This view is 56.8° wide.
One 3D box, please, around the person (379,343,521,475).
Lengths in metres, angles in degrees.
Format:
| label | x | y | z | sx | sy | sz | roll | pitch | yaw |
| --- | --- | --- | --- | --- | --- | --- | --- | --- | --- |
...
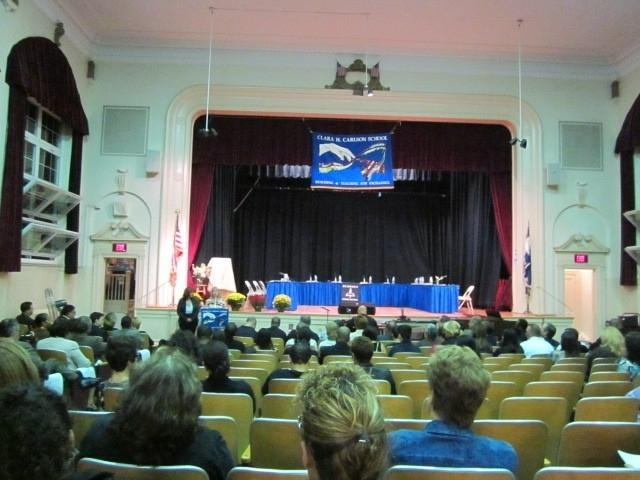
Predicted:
| label | x | y | z | sx | sy | sz | roll | pitch | yaw |
| --- | --- | --- | --- | --- | --- | --- | --- | --- | --- |
| person | 1.188 | 1.597 | 5.444 | 1.065 | 1.164 | 0.542 | 3 | 4 | -2 |

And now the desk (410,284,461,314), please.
| label | x | y | z | sx | sy | sz | roll | pitch | yaw |
| --- | --- | --- | --- | --- | --- | --- | --- | --- | --- |
| desk | 3.069 | 1.564 | 15.932 | 0.678 | 0.625 | 1.140 | 1 | 3 | -21 |

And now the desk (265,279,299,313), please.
| label | x | y | z | sx | sy | sz | roll | pitch | yaw |
| --- | --- | --- | --- | --- | --- | --- | --- | --- | --- |
| desk | -0.943 | 1.520 | 16.164 | 0.762 | 0.606 | 0.752 | 6 | -9 | -42 |

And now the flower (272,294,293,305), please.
| label | x | y | z | sx | sy | sz | roll | pitch | yaw |
| --- | --- | --- | --- | --- | --- | --- | --- | --- | --- |
| flower | -0.951 | 1.541 | 14.943 | 0.326 | 0.230 | 0.341 | 1 | -5 | -4 |

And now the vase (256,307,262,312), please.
| label | x | y | z | sx | sy | sz | roll | pitch | yaw |
| --- | --- | --- | --- | --- | --- | --- | --- | --- | --- |
| vase | -1.538 | 1.769 | 14.937 | 0.182 | 0.192 | 0.102 | 1 | -2 | -14 |

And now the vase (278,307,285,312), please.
| label | x | y | z | sx | sy | sz | roll | pitch | yaw |
| --- | --- | --- | --- | --- | --- | --- | --- | --- | --- |
| vase | -0.946 | 1.749 | 14.704 | 0.117 | 0.089 | 0.122 | 0 | 0 | 9 |

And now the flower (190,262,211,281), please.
| label | x | y | z | sx | sy | sz | roll | pitch | yaw |
| --- | --- | --- | --- | --- | --- | --- | --- | --- | --- |
| flower | -3.035 | 0.830 | 15.453 | 0.454 | 0.493 | 0.218 | -1 | -2 | 13 |

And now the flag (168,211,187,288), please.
| label | x | y | z | sx | sy | sz | roll | pitch | yaw |
| --- | --- | --- | --- | --- | --- | --- | --- | --- | --- |
| flag | -3.669 | 0.221 | 15.348 | 0.355 | 2.073 | 0.929 | 2 | -7 | -13 |

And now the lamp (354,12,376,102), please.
| label | x | y | z | sx | sy | sz | roll | pitch | yaw |
| --- | --- | --- | --- | --- | --- | --- | --- | --- | --- |
| lamp | 1.107 | -4.738 | 15.305 | 0.579 | 1.385 | 2.119 | 0 | -6 | 5 |

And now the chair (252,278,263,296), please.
| label | x | y | z | sx | sy | sz | roll | pitch | yaw |
| --- | --- | --- | --- | --- | --- | --- | --- | --- | --- |
| chair | -1.907 | 1.513 | 18.469 | 0.472 | 0.314 | 0.676 | 6 | -30 | -1 |
